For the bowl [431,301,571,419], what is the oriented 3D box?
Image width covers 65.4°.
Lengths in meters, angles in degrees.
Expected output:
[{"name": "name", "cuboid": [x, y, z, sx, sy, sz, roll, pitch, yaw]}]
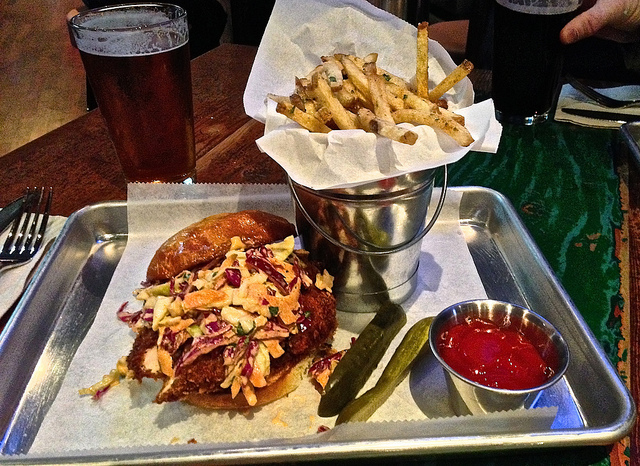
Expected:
[{"name": "bowl", "cuboid": [0.690, 0.468, 2.008, 0.462, 0.338, 0.479, -4, 36, 3]}]
